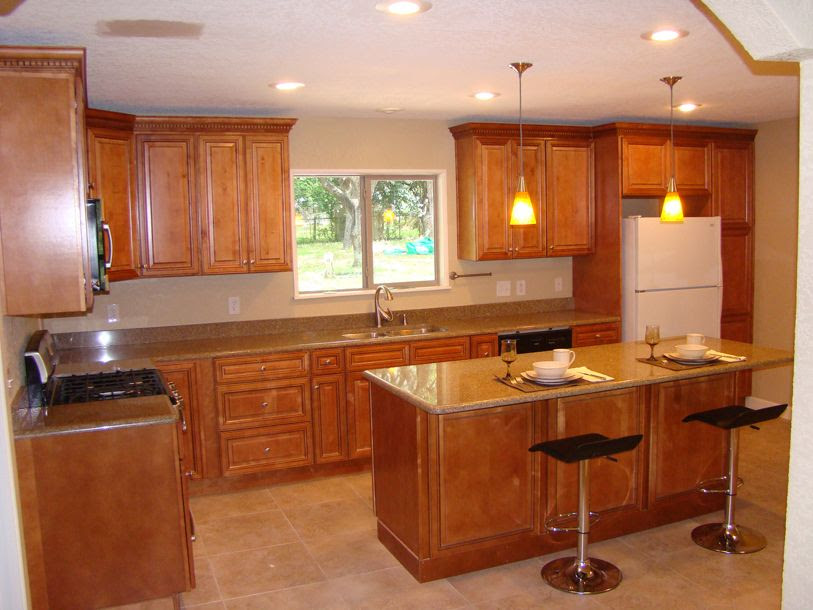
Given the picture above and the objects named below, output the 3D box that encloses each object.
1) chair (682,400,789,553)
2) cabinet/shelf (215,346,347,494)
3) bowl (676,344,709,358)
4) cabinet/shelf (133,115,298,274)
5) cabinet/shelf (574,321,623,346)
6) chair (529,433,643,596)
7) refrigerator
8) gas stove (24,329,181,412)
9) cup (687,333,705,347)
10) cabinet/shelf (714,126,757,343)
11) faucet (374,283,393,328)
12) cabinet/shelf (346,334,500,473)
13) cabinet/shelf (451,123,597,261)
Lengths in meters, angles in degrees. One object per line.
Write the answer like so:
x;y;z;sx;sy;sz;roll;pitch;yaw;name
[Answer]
1.906;0.934;4.021;0.508;0.880;0.562;1;11;17;chair
-0.948;0.805;4.901;1.186;0.877;0.434;-2;4;-21;cabinet/shelf
1.722;0.277;4.055;0.163;0.078;0.181;2;10;21;bowl
-1.461;-0.795;5.029;0.347;1.145;1.370;13;17;36;cabinet/shelf
1.621;0.245;5.730;0.373;0.298;0.235;-3;8;-21;cabinet/shelf
0.905;1.059;3.601;0.505;0.842;0.408;-7;12;-21;chair
2.321;-0.236;5.879;0.975;1.064;0.315;-6;12;-22;refrigerator
-1.727;0.415;3.876;0.813;0.433;1.014;-2;3;-15;gas stove
1.789;0.213;4.185;0.104;0.090;0.140;1;2;43;cup
3.068;-0.622;6.254;0.507;1.919;0.228;-9;13;-30;cabinet/shelf
-0.188;0.006;5.618;0.160;0.343;0.298;-3;10;-2;faucet
0.055;0.610;4.057;1.179;0.869;0.378;-2;4;-18;cabinet/shelf
1.016;-0.958;5.968;1.379;1.050;0.473;-6;9;-30;cabinet/shelf
